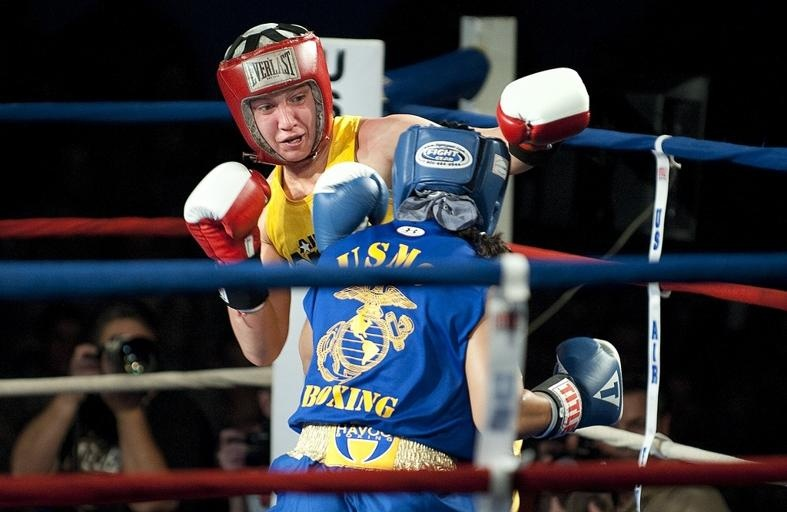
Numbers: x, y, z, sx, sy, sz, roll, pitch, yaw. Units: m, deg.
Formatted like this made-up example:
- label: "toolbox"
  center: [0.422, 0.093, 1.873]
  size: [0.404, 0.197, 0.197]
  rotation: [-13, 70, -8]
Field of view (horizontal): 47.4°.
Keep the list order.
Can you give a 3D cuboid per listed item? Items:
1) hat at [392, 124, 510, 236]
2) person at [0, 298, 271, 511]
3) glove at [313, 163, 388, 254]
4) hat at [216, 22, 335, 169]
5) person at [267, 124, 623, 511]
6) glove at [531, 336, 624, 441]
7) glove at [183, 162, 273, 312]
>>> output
- label: "hat"
  center: [0.185, -0.374, 3.863]
  size: [0.419, 0.410, 0.478]
  rotation: [5, 6, -3]
- label: "person"
  center: [-1.259, 0.720, 4.243]
  size: [0.834, 1.082, 0.371]
  rotation: [2, -16, -21]
- label: "glove"
  center: [-0.214, -0.248, 3.600]
  size: [0.253, 0.301, 0.256]
  rotation: [13, 39, 1]
- label: "hat"
  center: [-0.550, -0.762, 4.410]
  size: [0.527, 0.614, 0.600]
  rotation: [-16, 2, -6]
- label: "person"
  center: [0.133, 0.224, 3.418]
  size: [1.312, 1.316, 0.860]
  rotation: [-13, 19, -37]
- label: "glove"
  center: [0.737, 0.559, 3.554]
  size: [0.335, 0.165, 0.437]
  rotation: [14, 27, 30]
- label: "glove"
  center: [-0.683, -0.080, 3.727]
  size: [0.353, 0.598, 0.403]
  rotation: [-4, 16, -8]
